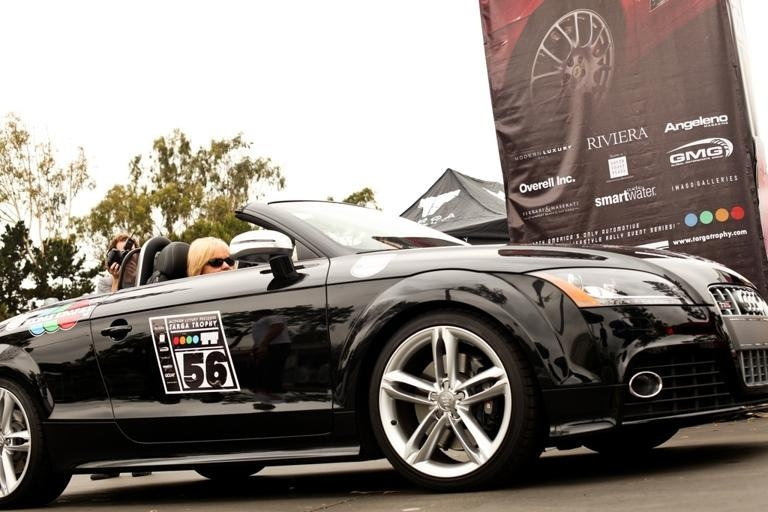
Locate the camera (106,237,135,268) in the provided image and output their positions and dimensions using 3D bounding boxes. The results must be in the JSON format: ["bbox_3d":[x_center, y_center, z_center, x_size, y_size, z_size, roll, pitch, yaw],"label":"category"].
[{"bbox_3d":[-2.772,-0.032,6.256,0.263,0.264,0.266,11,24,-25],"label":"camera"}]

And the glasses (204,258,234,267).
[{"bbox_3d":[-1.236,0.040,4.545,0.177,0.055,0.183,-15,-11,42],"label":"glasses"}]
